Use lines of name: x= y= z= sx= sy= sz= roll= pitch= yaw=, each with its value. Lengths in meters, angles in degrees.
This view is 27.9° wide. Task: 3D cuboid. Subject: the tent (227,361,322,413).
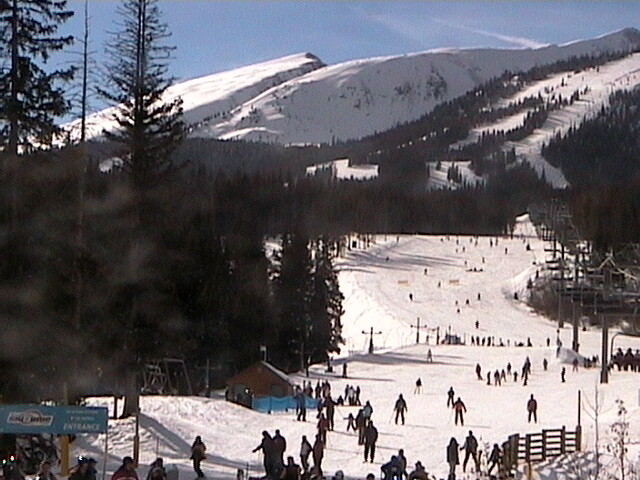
tent: x=-4.584 y=15.002 z=130.655 sx=8.517 sy=4.966 sz=10.328 roll=2 pitch=-4 yaw=7
